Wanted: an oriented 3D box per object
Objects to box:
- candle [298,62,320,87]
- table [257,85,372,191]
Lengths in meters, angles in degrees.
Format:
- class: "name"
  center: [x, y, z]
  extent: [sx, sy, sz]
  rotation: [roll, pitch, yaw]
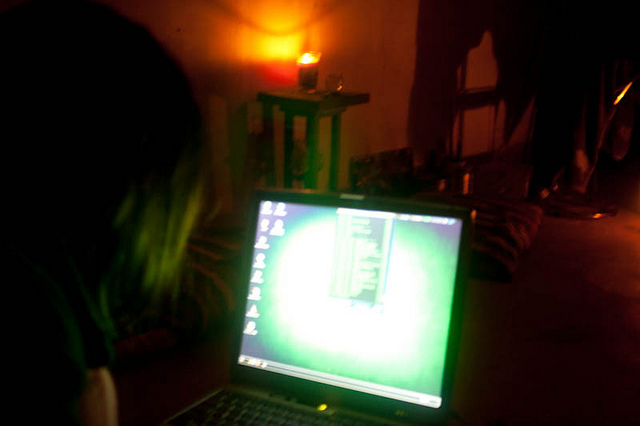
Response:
- class: "candle"
  center: [-0.047, -0.565, 2.072]
  extent: [0.091, 0.107, 0.094]
  rotation: [10, 16, 31]
- class: "table"
  center: [-0.047, -0.307, 2.206]
  extent: [0.468, 0.491, 0.474]
  rotation: [9, 22, 20]
